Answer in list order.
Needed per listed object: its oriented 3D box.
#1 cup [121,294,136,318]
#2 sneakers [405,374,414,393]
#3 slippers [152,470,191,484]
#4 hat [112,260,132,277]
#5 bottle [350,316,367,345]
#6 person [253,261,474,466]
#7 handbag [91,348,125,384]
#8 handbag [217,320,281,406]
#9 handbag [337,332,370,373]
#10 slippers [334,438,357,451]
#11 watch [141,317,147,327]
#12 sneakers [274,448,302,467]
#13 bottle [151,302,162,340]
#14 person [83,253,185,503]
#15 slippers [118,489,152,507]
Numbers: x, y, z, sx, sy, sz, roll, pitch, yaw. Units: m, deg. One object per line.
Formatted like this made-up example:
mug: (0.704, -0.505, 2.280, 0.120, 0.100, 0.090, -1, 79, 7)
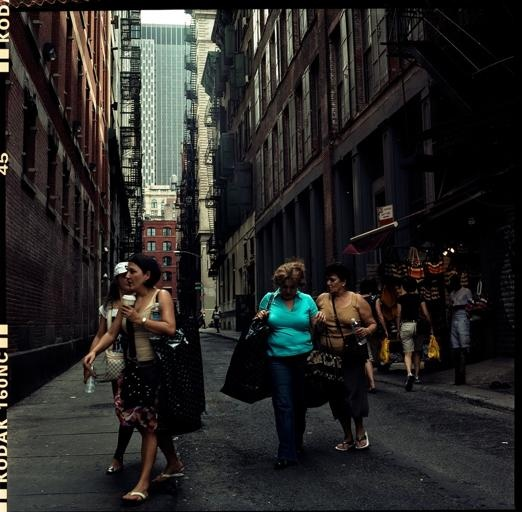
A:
cup: (-1.034, 0.383, 4.598, 0.094, 0.150, 0.096, 2, 7, 0)
sneakers: (2.747, 2.350, 10.829, 0.148, 0.418, 0.152, 0, 3, -15)
slippers: (-0.772, 1.866, 4.929, 0.276, 0.085, 0.119, 2, -6, -14)
hat: (-1.347, 0.130, 5.684, 0.185, 0.103, 0.289, -9, -1, -29)
bottle: (1.011, 0.791, 6.057, 0.149, 0.288, 0.234, -2, -7, 9)
person: (0.526, 1.073, 6.141, 1.357, 1.985, 0.899, 3, -7, -26)
handbag: (-1.390, 1.055, 5.401, 0.204, 0.324, 0.179, 18, -30, -38)
handbag: (-0.143, 1.074, 5.898, 0.475, 0.835, 0.419, -1, -6, 0)
handbag: (0.981, 1.008, 6.182, 0.345, 0.581, 0.268, 1, -6, -34)
slippers: (0.909, 2.051, 6.325, 0.087, 0.081, 0.238, -11, -18, 35)
watch: (-0.894, 0.502, 4.487, 0.027, 0.051, 0.045, 13, -27, -1)
sneakers: (0.274, 1.972, 5.621, 0.120, 0.194, 0.376, 0, -1, 35)
bottle: (-0.814, 0.522, 4.550, 0.101, 0.371, 0.205, -1, -9, -11)
person: (-0.997, 0.903, 4.632, 0.711, 1.833, 0.403, -4, -7, 30)
slippers: (-0.915, 1.786, 4.341, 0.246, 0.109, 0.224, 4, -9, -32)
